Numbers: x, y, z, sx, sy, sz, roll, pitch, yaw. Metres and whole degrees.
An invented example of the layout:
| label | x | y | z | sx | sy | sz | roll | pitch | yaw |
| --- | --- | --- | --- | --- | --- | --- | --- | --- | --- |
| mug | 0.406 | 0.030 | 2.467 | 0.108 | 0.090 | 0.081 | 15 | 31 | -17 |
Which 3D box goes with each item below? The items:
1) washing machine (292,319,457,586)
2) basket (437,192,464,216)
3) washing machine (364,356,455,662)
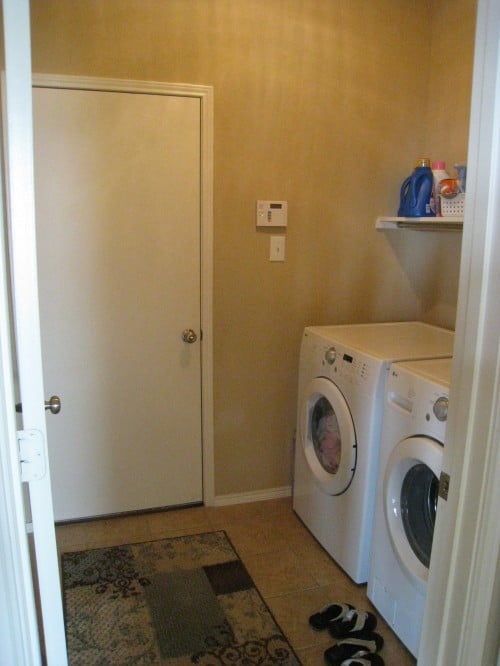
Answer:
| label | x | y | z | sx | sy | sz | roll | pitch | yaw |
| --- | --- | --- | --- | --- | --- | --- | --- | --- | --- |
| washing machine | 0.474 | 0.558 | 2.284 | 0.559 | 1.100 | 0.678 | -1 | 12 | -12 |
| basket | 0.852 | -0.540 | 2.240 | 0.042 | 0.099 | 0.125 | -3 | 9 | -27 |
| washing machine | 0.546 | 0.585 | 1.718 | 0.171 | 0.913 | 0.403 | 0 | 7 | -8 |
